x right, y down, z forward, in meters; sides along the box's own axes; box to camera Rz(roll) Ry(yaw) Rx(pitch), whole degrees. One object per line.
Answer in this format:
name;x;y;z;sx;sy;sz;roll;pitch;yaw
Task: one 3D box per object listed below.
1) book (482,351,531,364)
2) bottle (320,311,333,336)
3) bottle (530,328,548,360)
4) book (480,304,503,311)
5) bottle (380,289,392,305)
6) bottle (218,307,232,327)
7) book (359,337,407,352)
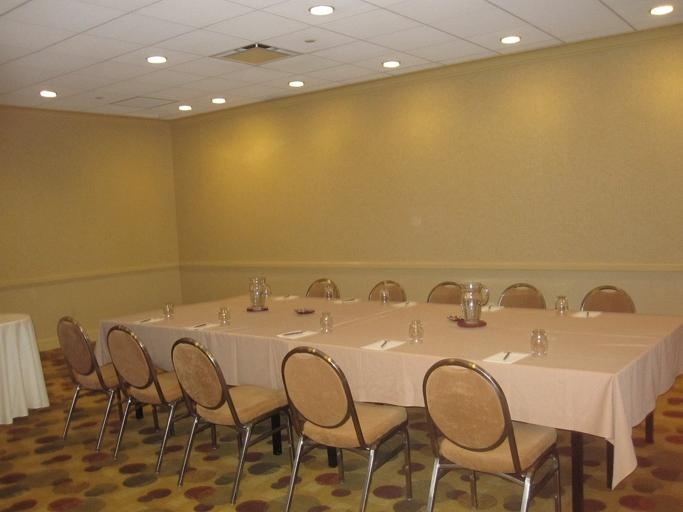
book;1.042;0.637;3.099;0.199;0.010;0.307;2;7;42
bottle;-0.132;0.557;3.982;0.160;0.188;0.142;1;-3;-6
bottle;1.268;0.545;3.125;0.150;0.163;0.077;-7;7;-26
book;1.380;0.484;4.570;0.127;0.024;0.136;3;6;34
bottle;0.485;0.435;5.134;0.136;0.135;0.130;2;5;18
bottle;-1.047;0.554;4.488;0.145;0.180;0.135;0;9;0
book;0.296;0.636;3.517;0.297;0.021;0.224;-9;4;-41
